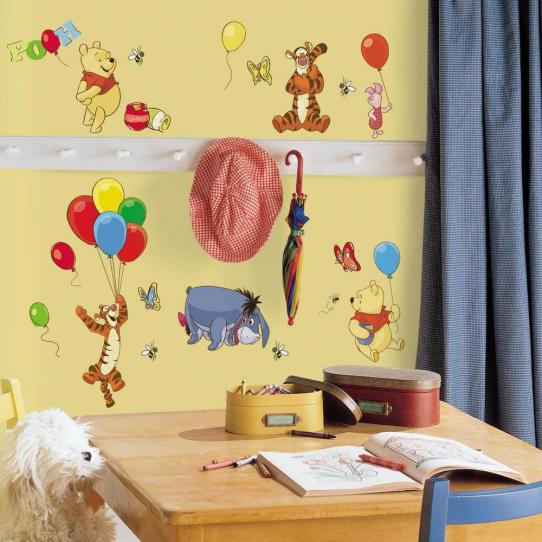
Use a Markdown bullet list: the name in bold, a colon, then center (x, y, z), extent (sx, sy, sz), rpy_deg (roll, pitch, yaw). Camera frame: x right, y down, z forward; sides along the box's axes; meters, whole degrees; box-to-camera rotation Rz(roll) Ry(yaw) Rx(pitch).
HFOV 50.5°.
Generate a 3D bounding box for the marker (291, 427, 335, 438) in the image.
- **marker**: center (0.098, 0.383, 1.363), extent (0.082, 0.010, 0.010), rpy_deg (5, -8, 9)

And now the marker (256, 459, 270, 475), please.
- **marker**: center (-0.014, 0.387, 1.134), extent (0.011, 0.009, 0.053), rpy_deg (-25, 5, -7)

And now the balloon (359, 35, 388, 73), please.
- **balloon**: center (0.385, -0.804, 2.176), extent (0.106, 0.133, 0.037), rpy_deg (-28, 6, -4)

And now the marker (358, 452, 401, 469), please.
- **marker**: center (0.220, 0.381, 1.153), extent (0.067, 0.014, 0.010), rpy_deg (7, -20, 39)

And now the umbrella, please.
- **umbrella**: center (0.087, -0.119, 2.105), extent (0.109, 0.641, 0.114), rpy_deg (-3, 4, 2)

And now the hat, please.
- **hat**: center (-0.119, -0.243, 2.056), extent (0.339, 0.435, 0.133), rpy_deg (1, 9, -4)
